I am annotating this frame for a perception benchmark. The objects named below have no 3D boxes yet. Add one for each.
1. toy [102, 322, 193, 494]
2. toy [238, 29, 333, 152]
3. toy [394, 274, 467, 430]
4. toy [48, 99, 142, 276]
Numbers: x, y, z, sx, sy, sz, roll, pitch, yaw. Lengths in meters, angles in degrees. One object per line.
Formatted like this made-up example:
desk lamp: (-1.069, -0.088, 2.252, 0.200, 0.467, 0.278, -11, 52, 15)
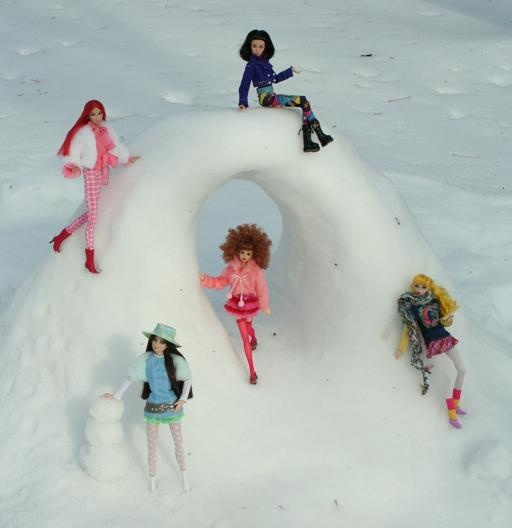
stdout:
toy: (-0.830, 1.138, 5.565, 0.641, 1.388, 0.643, -8, 34, -13)
toy: (0.179, -1.577, 6.312, 0.543, 0.942, 1.079, -28, 42, -37)
toy: (1.609, 0.732, 6.359, 0.844, 1.184, 0.557, 21, 38, 29)
toy: (-1.561, -0.778, 6.179, 0.724, 1.342, 0.890, 14, 35, 19)
